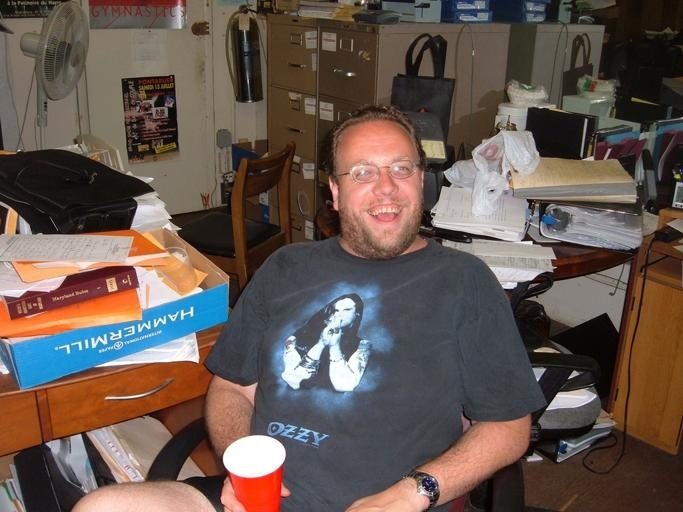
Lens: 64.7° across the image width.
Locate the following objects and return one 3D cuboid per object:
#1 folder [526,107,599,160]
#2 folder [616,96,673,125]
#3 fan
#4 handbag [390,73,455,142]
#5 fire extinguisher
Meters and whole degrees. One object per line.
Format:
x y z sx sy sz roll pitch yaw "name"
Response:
0.984 -0.569 2.490 0.066 0.289 0.277 -19 25 -39 "folder"
1.496 -0.749 2.683 0.190 0.051 0.212 21 30 25 "folder"
-1.458 -0.864 2.778 0.213 0.826 0.285 26 30 34 "fan"
0.341 -0.787 2.724 0.316 0.373 0.290 8 21 -11 "handbag"
-0.780 -1.659 4.429 0.317 0.758 0.414 -3 14 -16 "fire extinguisher"
